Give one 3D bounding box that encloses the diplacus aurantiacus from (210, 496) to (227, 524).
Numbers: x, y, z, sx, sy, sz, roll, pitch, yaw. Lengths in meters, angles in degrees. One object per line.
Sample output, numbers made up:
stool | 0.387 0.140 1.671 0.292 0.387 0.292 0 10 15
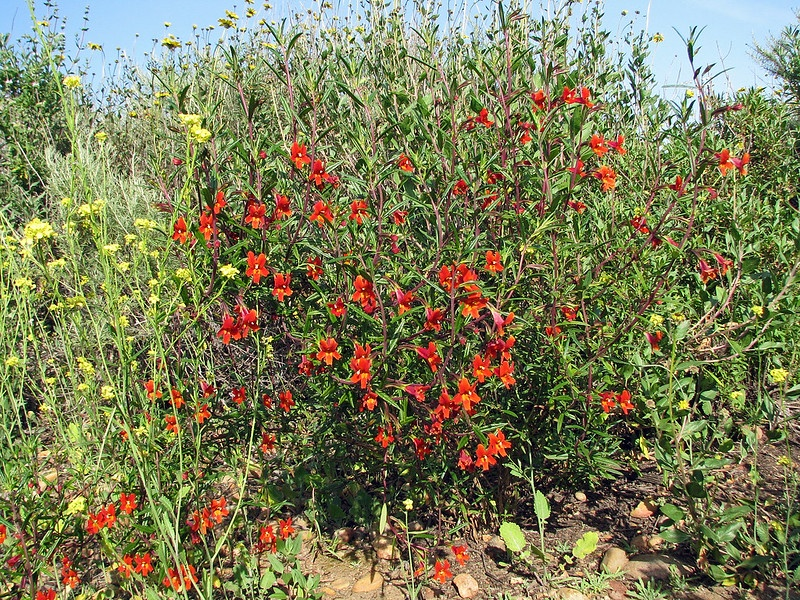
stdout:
diplacus aurantiacus | -0.954 1.088 3.336 0.081 0.112 0.143 -5 6 -20
